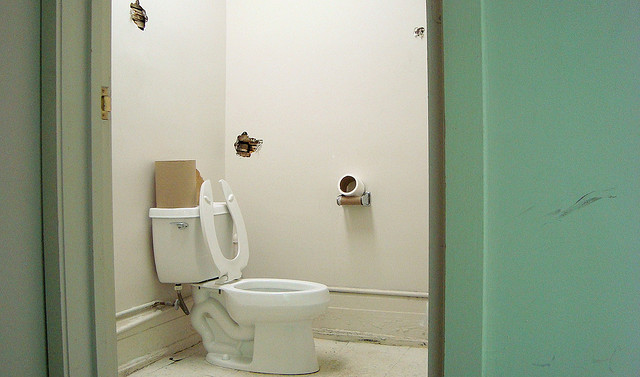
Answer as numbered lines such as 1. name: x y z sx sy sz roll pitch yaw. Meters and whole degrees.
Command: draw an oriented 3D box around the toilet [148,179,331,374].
1. toilet: -0.430 0.496 3.044 1.096 1.092 0.703 0 1 17
